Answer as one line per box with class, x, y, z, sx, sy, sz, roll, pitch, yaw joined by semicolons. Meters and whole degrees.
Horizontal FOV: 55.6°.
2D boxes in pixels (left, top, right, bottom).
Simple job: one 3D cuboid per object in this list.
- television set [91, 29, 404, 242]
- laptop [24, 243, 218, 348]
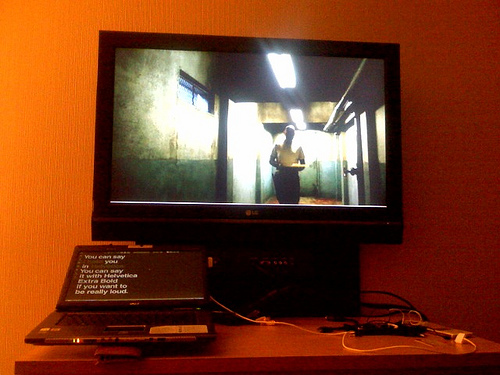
television set;-0.040;-0.191;2.002;0.925;0.622;0.039;1;-5;-3
laptop;-0.425;0.390;1.756;0.634;0.280;0.361;4;10;-3
